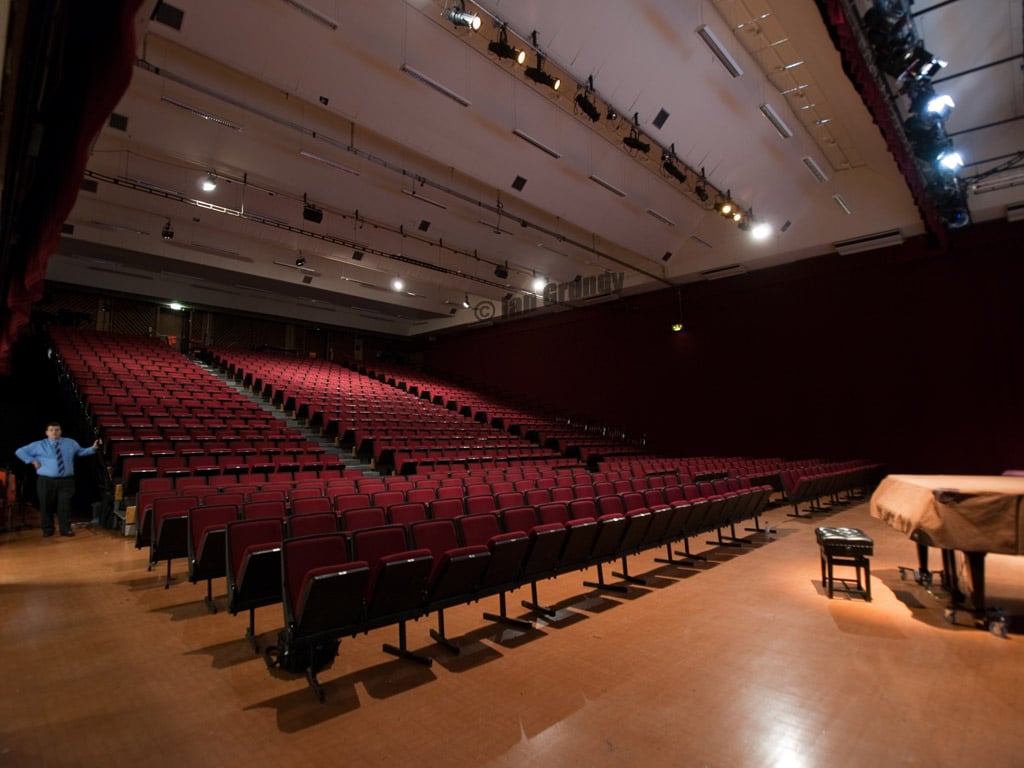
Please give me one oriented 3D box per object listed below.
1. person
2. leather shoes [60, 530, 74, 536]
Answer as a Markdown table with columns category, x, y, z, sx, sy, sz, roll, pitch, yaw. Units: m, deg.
| category | x | y | z | sx | sy | sz | roll | pitch | yaw |
| --- | --- | --- | --- | --- | --- | --- | --- | --- | --- |
| person | -5.318 | 1.165 | 7.576 | 0.509 | 1.817 | 1.042 | -3 | -3 | 33 |
| leather shoes | -4.883 | 1.613 | 7.051 | 0.136 | 0.110 | 0.050 | -8 | -12 | 22 |
